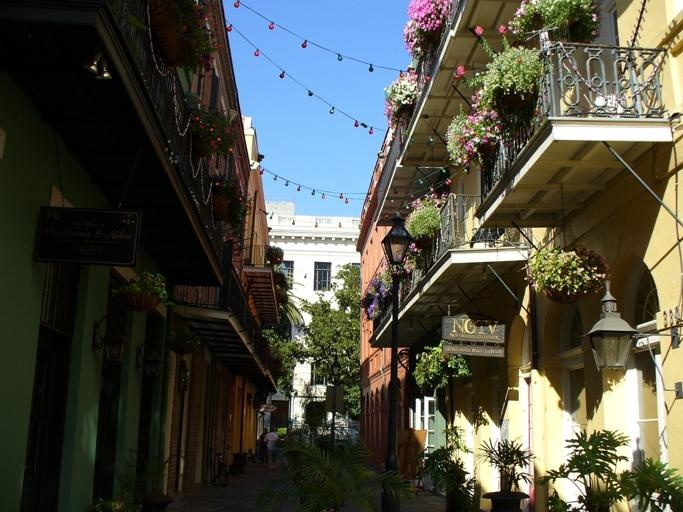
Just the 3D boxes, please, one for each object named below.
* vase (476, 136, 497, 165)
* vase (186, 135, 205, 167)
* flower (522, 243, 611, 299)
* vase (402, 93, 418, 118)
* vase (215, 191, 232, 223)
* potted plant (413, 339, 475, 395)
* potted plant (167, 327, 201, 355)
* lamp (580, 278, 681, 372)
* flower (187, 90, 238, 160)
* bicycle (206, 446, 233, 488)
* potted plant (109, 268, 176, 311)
[{"bbox_3d":[2.206,-1.606,10.795,0.233,0.233,0.604,2,-14,-2],"label":"vase"},{"bbox_3d":[-2.393,-1.654,11.547,0.320,0.435,0.370,-3,-24,2],"label":"vase"},{"bbox_3d":[2.908,0.249,9.223,0.720,0.583,0.693,11,-15,-31],"label":"flower"},{"bbox_3d":[1.518,-3.416,15.907,0.272,0.360,0.625,1,-14,2],"label":"vase"},{"bbox_3d":[-2.307,-0.952,13.643,0.312,0.340,0.732,3,-14,-6],"label":"vase"},{"bbox_3d":[2.343,2.512,16.408,0.816,0.937,2.309,3,-14,-7],"label":"potted plant"},{"bbox_3d":[-3.320,1.765,14.770,0.465,0.241,0.501,-9,-22,32],"label":"potted plant"},{"bbox_3d":[3.509,0.761,8.421,0.998,1.203,1.147,-5,-15,27],"label":"lamp"},{"bbox_3d":[-2.297,-2.180,11.745,0.779,1.061,0.903,2,2,16],"label":"flower"},{"bbox_3d":[-3.537,6.340,21.254,0.897,1.343,2.018,4,-24,-13],"label":"bicycle"},{"bbox_3d":[-2.895,0.330,10.243,0.787,0.632,0.755,13,-25,-25],"label":"potted plant"}]
